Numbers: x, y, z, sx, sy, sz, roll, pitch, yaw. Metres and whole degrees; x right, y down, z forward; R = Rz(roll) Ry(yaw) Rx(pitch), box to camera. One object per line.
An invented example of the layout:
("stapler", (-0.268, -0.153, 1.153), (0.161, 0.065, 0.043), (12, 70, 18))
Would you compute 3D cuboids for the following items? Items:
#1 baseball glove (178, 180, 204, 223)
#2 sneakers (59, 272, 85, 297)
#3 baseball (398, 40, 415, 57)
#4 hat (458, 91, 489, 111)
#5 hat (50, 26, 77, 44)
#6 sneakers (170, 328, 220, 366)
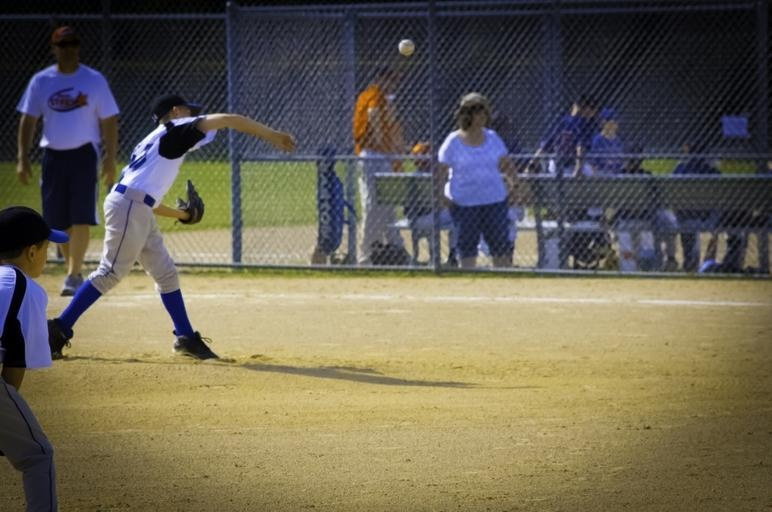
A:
("baseball glove", (-1.830, -0.459, 11.706), (0.151, 0.503, 0.203), (1, 40, -6))
("sneakers", (-3.285, 0.290, 13.274), (0.177, 0.234, 0.497), (2, 0, 4))
("baseball", (0.238, -2.420, 14.640), (0.175, 0.157, 0.284), (2, 5, 3))
("hat", (0.957, -1.673, 13.602), (0.295, 0.171, 0.236), (2, 5, 4))
("hat", (-3.310, -2.215, 12.730), (0.315, 0.177, 0.181), (4, 5, 27))
("sneakers", (-1.764, 0.785, 11.591), (0.532, 0.237, 0.197), (21, 4, -11))
